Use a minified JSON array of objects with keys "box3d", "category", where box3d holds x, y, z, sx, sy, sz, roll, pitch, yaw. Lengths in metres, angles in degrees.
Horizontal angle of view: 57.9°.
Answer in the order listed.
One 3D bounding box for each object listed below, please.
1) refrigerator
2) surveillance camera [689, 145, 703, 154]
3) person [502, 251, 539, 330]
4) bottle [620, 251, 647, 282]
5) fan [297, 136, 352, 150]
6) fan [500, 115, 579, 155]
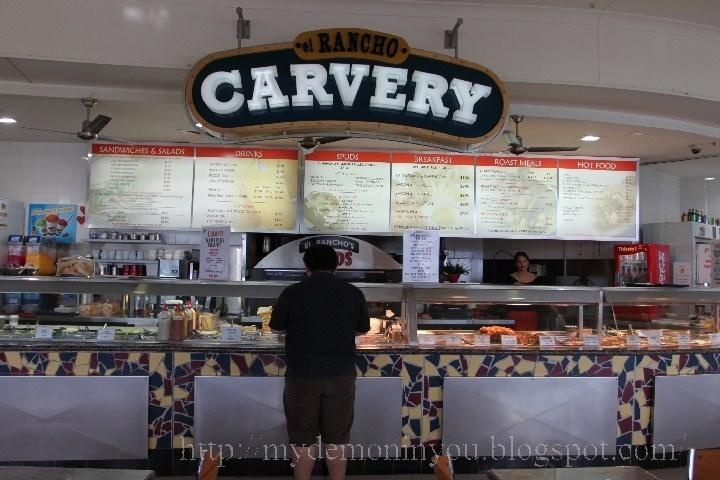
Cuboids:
[{"box3d":[3.081,0.445,7.101,0.594,1.042,0.574,-1,-12,14],"category":"refrigerator"},{"box3d":[4.061,-1.099,7.841,0.132,0.086,0.110,2,-1,-8],"category":"surveillance camera"},{"box3d":[1.592,0.615,6.283,0.349,0.996,0.326,-3,-12,4],"category":"person"},{"box3d":[3.348,0.322,7.922,0.363,0.489,0.244,0,-10,7],"category":"bottle"},{"box3d":[-0.342,-0.855,5.613,0.390,0.108,0.468,0,-2,-8],"category":"fan"},{"box3d":[1.877,-1.041,6.918,0.596,0.251,0.579,1,1,10],"category":"fan"}]
